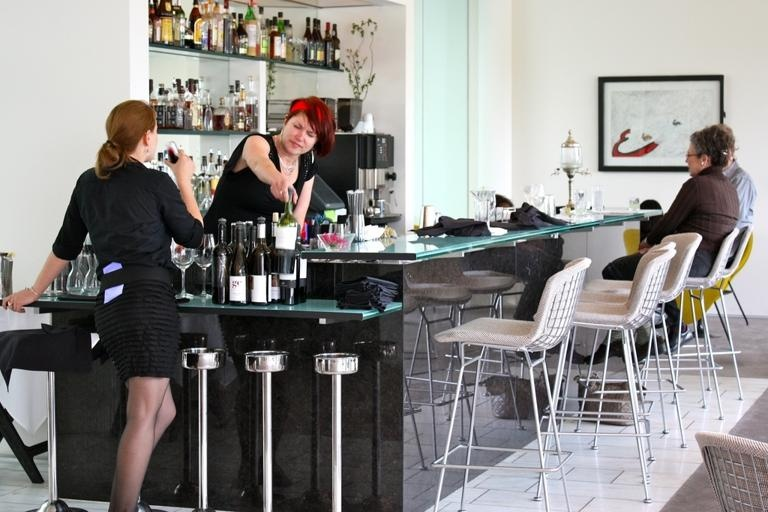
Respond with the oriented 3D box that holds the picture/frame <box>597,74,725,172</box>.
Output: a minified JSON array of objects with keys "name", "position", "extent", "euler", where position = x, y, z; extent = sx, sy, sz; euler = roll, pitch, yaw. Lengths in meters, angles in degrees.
[{"name":"picture/frame","position":[3.463,-1.687,8.558],"extent":[1.770,1.363,0.085],"euler":[0,0,12]}]

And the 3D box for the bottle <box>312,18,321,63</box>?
[{"name":"bottle","position":[-0.713,-2.286,7.358],"extent":[0.115,0.459,0.358],"euler":[2,9,-7]}]

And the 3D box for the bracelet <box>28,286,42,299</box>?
[{"name":"bracelet","position":[-1.820,0.182,3.597],"extent":[0.045,0.082,0.065],"euler":[-2,3,-17]}]

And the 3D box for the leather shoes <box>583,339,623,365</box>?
[{"name":"leather shoes","position":[1.641,0.678,5.201],"extent":[0.225,0.069,0.218],"euler":[-16,-4,-10]}]

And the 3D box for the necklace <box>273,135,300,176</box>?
[{"name":"necklace","position":[-0.532,-0.555,3.801],"extent":[0.156,0.205,0.110],"euler":[-7,10,-16]}]

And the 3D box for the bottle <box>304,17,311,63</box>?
[{"name":"bottle","position":[-0.802,-2.274,7.269],"extent":[0.071,0.492,0.302],"euler":[2,9,-8]}]

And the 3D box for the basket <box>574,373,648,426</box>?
[{"name":"basket","position":[1.612,1.073,5.214],"extent":[0.491,0.314,0.276],"euler":[6,-8,-11]}]

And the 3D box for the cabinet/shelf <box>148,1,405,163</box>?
[{"name":"cabinet/shelf","position":[-0.945,-1.562,6.082],"extent":[2.401,1.958,0.747],"euler":[-2,2,-29]}]

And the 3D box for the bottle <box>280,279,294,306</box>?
[{"name":"bottle","position":[-0.466,0.162,3.333],"extent":[0.082,0.122,0.040],"euler":[1,9,-9]}]

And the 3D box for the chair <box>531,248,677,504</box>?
[{"name":"chair","position":[1.386,0.692,4.391],"extent":[0.868,1.534,0.733],"euler":[0,7,16]}]

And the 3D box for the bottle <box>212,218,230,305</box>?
[{"name":"bottle","position":[-0.817,0.016,3.460],"extent":[0.076,0.393,0.276],"euler":[1,9,-14]}]

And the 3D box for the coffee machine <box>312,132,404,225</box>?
[{"name":"coffee machine","position":[-0.273,-0.802,7.331],"extent":[0.825,0.869,0.709],"euler":[2,7,16]}]

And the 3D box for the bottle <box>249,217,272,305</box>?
[{"name":"bottle","position":[-0.597,0.020,3.312],"extent":[0.089,0.407,0.113],"euler":[-1,10,-23]}]

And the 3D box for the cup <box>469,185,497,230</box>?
[{"name":"cup","position":[0.650,-0.320,4.530],"extent":[0.159,0.194,0.168],"euler":[2,-6,0]}]

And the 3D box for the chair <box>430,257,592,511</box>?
[{"name":"chair","position":[0.730,0.681,3.900],"extent":[0.755,1.459,1.169],"euler":[6,9,20]}]

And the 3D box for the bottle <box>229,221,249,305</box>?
[{"name":"bottle","position":[-0.705,0.030,3.368],"extent":[0.084,0.377,0.192],"euler":[1,9,-12]}]

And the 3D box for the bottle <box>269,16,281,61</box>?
[{"name":"bottle","position":[-1.052,-2.118,6.698],"extent":[0.106,0.396,0.275],"euler":[1,9,-9]}]

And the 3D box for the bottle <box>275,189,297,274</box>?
[{"name":"bottle","position":[-0.474,-0.102,3.320],"extent":[0.109,0.385,0.223],"euler":[1,9,-14]}]

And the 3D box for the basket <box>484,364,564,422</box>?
[{"name":"basket","position":[0.854,0.976,4.620],"extent":[0.562,0.238,0.440],"euler":[7,-23,-22]}]

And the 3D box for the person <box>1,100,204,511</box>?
[{"name":"person","position":[-1.321,0.189,3.314],"extent":[0.730,1.866,0.495],"euler":[7,10,23]}]

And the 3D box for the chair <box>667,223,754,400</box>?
[{"name":"chair","position":[2.702,0.457,5.852],"extent":[0.802,1.465,0.786],"euler":[-2,-2,-27]}]
